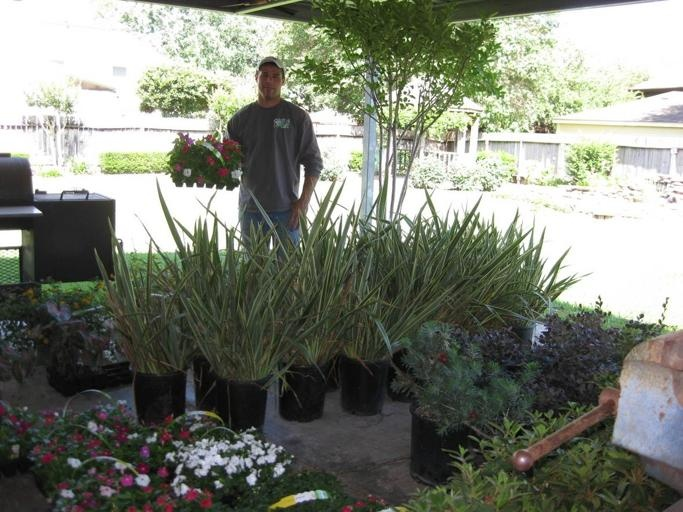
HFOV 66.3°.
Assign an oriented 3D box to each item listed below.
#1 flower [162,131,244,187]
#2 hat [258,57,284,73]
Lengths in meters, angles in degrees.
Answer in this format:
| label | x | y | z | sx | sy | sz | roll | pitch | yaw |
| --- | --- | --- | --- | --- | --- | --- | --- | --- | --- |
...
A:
| label | x | y | z | sx | sy | sz | roll | pitch | yaw |
| --- | --- | --- | --- | --- | --- | --- | --- | --- | --- |
| flower | -1.011 | -0.679 | 3.996 | 0.383 | 0.305 | 0.441 | -1 | -8 | 32 |
| hat | -0.500 | -1.381 | 3.734 | 0.196 | 0.108 | 0.185 | 3 | 14 | -9 |
